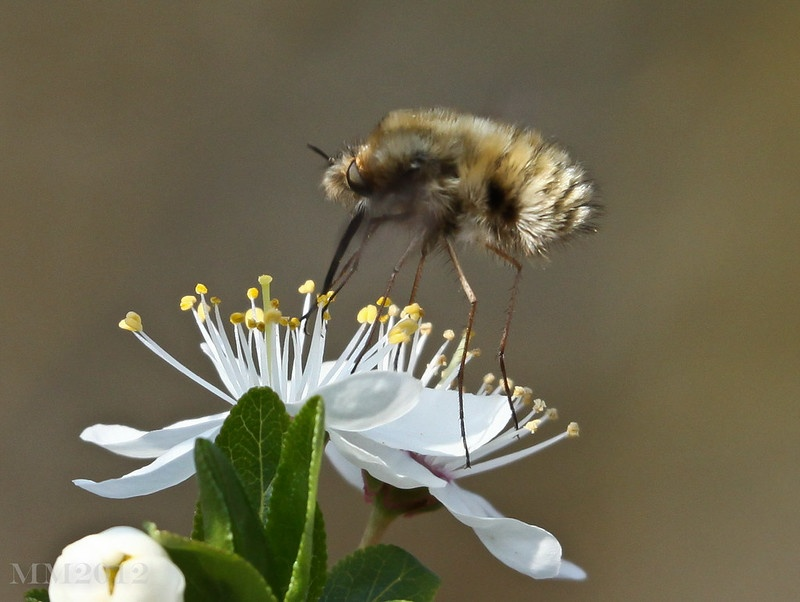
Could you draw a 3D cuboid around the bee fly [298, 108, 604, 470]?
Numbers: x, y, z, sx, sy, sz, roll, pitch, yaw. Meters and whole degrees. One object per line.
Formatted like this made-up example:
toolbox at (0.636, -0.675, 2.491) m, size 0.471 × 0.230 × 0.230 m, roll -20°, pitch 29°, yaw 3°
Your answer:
bee fly at (0.068, -0.088, 1.603) m, size 0.381 × 0.403 × 0.348 m, roll -2°, pitch -70°, yaw -13°
